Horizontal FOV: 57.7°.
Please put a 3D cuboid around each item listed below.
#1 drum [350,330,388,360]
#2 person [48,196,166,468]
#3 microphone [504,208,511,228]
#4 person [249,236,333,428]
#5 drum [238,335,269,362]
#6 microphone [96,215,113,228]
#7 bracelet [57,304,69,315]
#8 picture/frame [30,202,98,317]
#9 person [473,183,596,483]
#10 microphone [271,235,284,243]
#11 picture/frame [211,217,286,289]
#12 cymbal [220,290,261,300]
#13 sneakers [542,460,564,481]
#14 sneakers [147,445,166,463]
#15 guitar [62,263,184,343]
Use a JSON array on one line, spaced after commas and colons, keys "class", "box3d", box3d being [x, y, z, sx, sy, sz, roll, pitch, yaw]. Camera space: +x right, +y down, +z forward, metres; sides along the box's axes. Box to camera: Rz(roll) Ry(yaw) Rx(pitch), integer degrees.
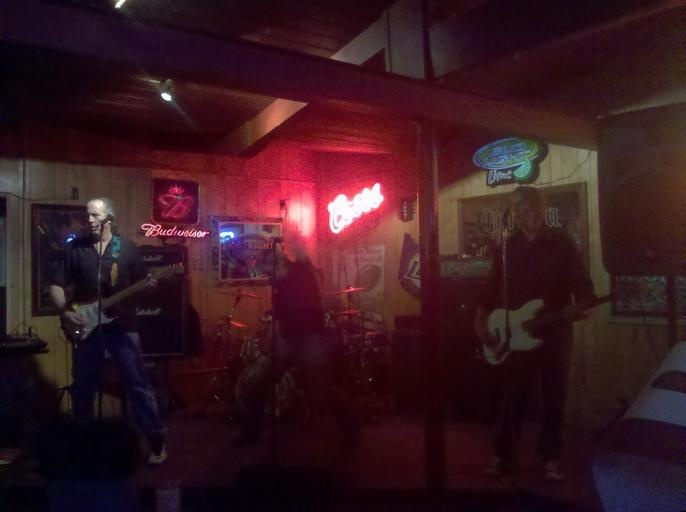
[{"class": "drum", "box3d": [0.228, 0.787, 5.582, 0.383, 0.250, 0.122, -4, 11, -14]}, {"class": "person", "box3d": [-1.550, 0.541, 4.133, 0.660, 1.836, 0.336, -7, 12, -29]}, {"class": "microphone", "box3d": [1.152, -0.265, 4.355, 0.034, 0.160, 0.109, -2, 13, 6]}, {"class": "person", "box3d": [-0.401, 0.534, 4.258, 0.588, 1.432, 0.473, -2, 10, -3]}, {"class": "drum", "box3d": [-0.743, 0.735, 4.992, 0.224, 0.129, 0.374, -10, 13, 4]}, {"class": "microphone", "box3d": [-1.543, -0.228, 4.036, 0.112, 0.086, 0.056, -10, 14, -36]}, {"class": "bracelet", "box3d": [-1.835, 0.348, 4.054, 0.049, 0.012, 0.054, -2, 46, 32]}, {"class": "picture/frame", "box3d": [-2.310, 0.024, 5.154, 0.494, 0.956, 0.019, -4, 20, -35]}, {"class": "person", "box3d": [1.218, 0.489, 4.012, 0.577, 1.816, 0.521, -5, 11, -18]}, {"class": "microphone", "box3d": [-0.415, -0.103, 3.901, 0.028, 0.040, 0.090, 9, 17, 44]}, {"class": "picture/frame", "box3d": [-0.981, -0.028, 6.164, 0.674, 0.686, 0.098, 0, -11, -7]}, {"class": "cymbal", "box3d": [-1.055, 0.381, 6.223, 0.191, 0.083, 0.216, -5, 3, 2]}, {"class": "sneakers", "box3d": [1.342, 1.365, 3.962, 0.109, 0.117, 0.116, 2, 0, 13]}, {"class": "sneakers", "box3d": [-1.299, 1.361, 4.300, 0.083, 0.044, 0.117, 3, -3, -41]}, {"class": "guitar", "box3d": [-1.536, 0.313, 4.249, 0.561, 0.193, 0.085, -34, 3, -21]}]
